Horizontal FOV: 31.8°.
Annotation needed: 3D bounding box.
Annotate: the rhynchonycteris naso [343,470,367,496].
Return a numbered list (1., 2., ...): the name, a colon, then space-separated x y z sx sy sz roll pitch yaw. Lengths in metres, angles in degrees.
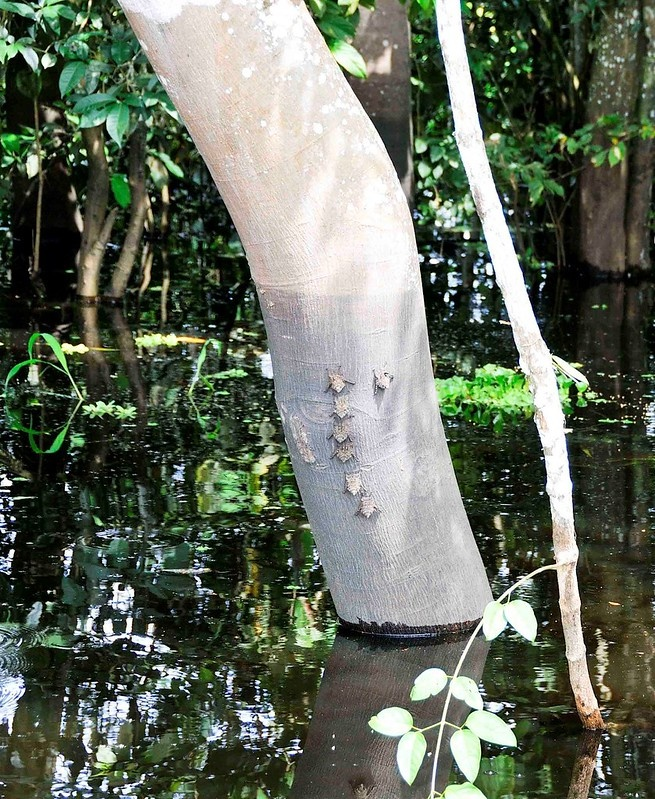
1. rhynchonycteris naso: 0.069 0.201 2.803 0.064 0.057 0.017 -4 6 2

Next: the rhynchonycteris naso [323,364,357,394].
1. rhynchonycteris naso: 0.019 -0.056 2.810 0.096 0.056 0.026 -9 23 4

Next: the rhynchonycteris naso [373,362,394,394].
1. rhynchonycteris naso: 0.144 -0.055 2.769 0.064 0.055 0.023 2 21 -3

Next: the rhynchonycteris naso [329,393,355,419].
1. rhynchonycteris naso: 0.027 0.017 2.766 0.057 0.051 0.022 2 10 1

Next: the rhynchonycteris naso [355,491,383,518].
1. rhynchonycteris naso: 0.091 0.254 2.807 0.065 0.054 0.021 -3 12 3

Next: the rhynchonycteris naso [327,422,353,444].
1. rhynchonycteris naso: 0.029 0.078 2.783 0.054 0.046 0.014 4 12 9

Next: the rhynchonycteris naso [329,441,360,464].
1. rhynchonycteris naso: 0.041 0.128 2.794 0.060 0.049 0.018 6 8 11
